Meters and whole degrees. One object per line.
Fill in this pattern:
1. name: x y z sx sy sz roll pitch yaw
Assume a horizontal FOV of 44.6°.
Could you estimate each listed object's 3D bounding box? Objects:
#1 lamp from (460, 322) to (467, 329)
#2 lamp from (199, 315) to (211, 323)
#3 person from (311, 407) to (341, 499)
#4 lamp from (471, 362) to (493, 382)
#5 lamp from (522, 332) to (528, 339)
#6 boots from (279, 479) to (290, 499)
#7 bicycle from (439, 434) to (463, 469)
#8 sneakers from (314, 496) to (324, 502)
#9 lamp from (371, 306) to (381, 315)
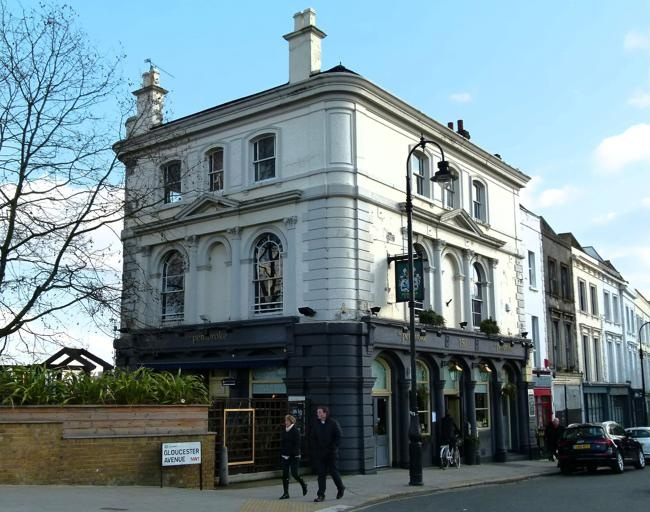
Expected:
1. lamp: 5.360 2.707 30.693 0.246 0.217 0.275 4 1 11
2. lamp: -4.369 2.280 28.534 0.417 0.352 0.387 0 -17 -7
3. person: 0.034 4.864 19.560 0.720 2.285 0.775 -2 -17 -1
4. lamp: 6.329 4.690 32.202 0.341 0.705 0.961 -8 -11 35
5. lamp: 8.732 3.482 34.769 0.315 0.295 0.140 -1 0 -6
6. boots: -1.000 5.711 19.285 0.218 0.428 0.467 -1 -17 -4
7. bicycle: 4.724 7.174 28.410 0.645 0.796 1.312 -6 -11 33
8. sneakers: -0.153 5.836 18.959 0.191 0.123 0.103 27 -36 -31
9. lamp: 1.644 1.815 26.141 0.291 0.298 0.281 8 -6 -39
